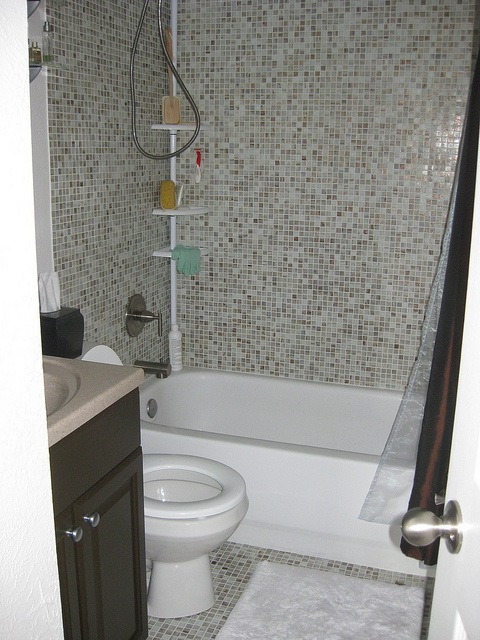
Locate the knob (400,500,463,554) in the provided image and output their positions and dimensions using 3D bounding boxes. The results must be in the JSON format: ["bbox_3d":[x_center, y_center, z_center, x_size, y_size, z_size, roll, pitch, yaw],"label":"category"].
[{"bbox_3d":[0.223,0.234,0.638,0.065,0.057,0.053,0,4,-5],"label":"knob"}]

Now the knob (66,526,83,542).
[{"bbox_3d":[-0.344,0.446,1.126,0.031,0.027,0.017,5,-15,28],"label":"knob"}]

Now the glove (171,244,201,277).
[{"bbox_3d":[-0.275,-0.303,2.770,0.148,0.147,0.055,20,-9,-34],"label":"glove"}]

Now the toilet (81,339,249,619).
[{"bbox_3d":[-0.330,0.572,1.947,0.687,0.880,0.441,5,11,15],"label":"toilet"}]
